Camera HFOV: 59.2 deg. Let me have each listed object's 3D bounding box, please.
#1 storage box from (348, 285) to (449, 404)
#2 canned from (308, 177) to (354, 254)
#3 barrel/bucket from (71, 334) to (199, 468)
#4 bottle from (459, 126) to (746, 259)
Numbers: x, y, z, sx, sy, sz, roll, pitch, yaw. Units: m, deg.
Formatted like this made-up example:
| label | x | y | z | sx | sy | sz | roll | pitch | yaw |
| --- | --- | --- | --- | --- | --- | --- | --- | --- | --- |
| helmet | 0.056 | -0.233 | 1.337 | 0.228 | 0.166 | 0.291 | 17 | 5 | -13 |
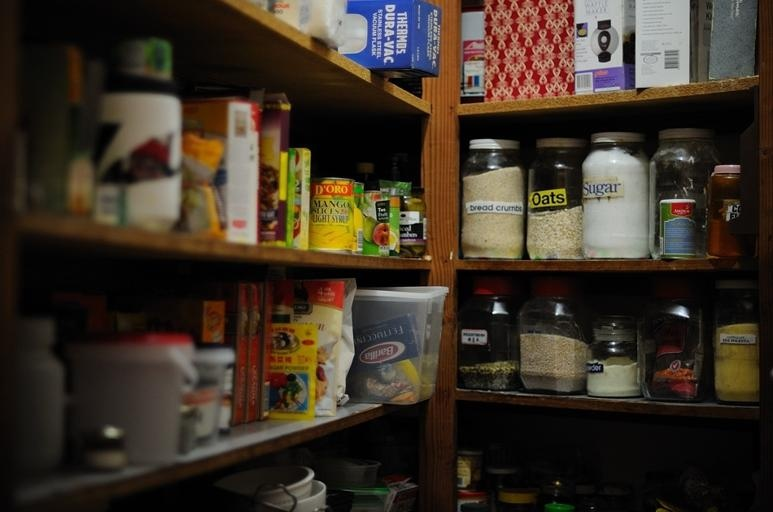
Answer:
| label | x | y | z | sx | sy | sz | roll | pitch | yaw |
| --- | --- | --- | --- | --- | --- | --- | --- | --- | --- |
| storage box | 0.007 | 0.284 | 1.969 | 0.371 | 0.275 | 0.261 | -8 | -13 | 29 |
| canned | -0.137 | -0.107 | 1.804 | 0.176 | 0.167 | 0.164 | 0 | 4 | -19 |
| barrel/bucket | -0.405 | 0.256 | 1.245 | 0.251 | 0.197 | 0.216 | 0 | -10 | -3 |
| bottle | 0.633 | -0.182 | 2.067 | 0.786 | 0.392 | 0.201 | 1 | -1 | 23 |
